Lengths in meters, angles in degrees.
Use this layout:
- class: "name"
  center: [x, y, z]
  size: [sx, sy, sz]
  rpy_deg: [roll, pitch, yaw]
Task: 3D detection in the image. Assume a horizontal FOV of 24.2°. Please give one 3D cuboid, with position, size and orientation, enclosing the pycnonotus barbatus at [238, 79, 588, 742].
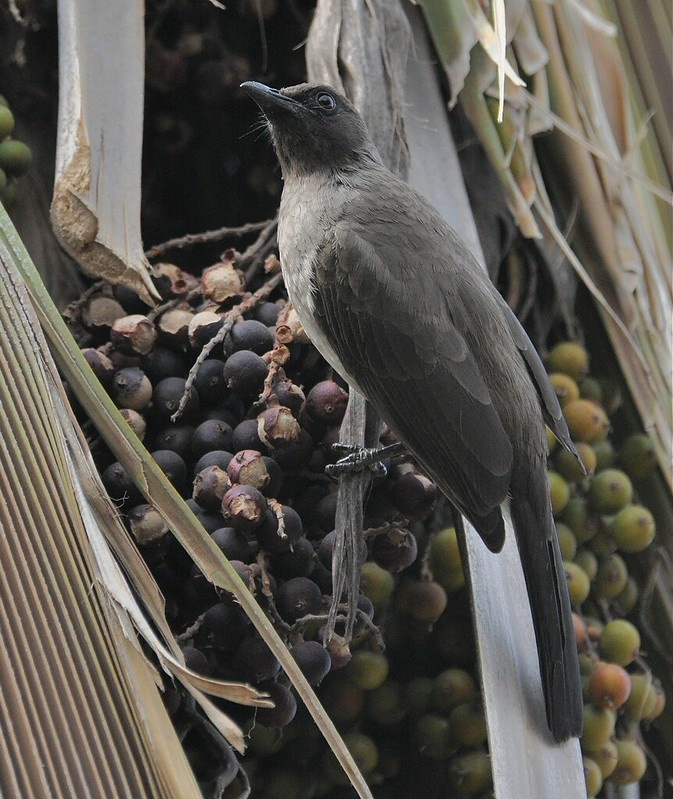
- class: "pycnonotus barbatus"
  center: [-0.102, 0.060, 2.694]
  size: [0.479, 1.180, 1.062]
  rpy_deg: [-2, -10, 0]
